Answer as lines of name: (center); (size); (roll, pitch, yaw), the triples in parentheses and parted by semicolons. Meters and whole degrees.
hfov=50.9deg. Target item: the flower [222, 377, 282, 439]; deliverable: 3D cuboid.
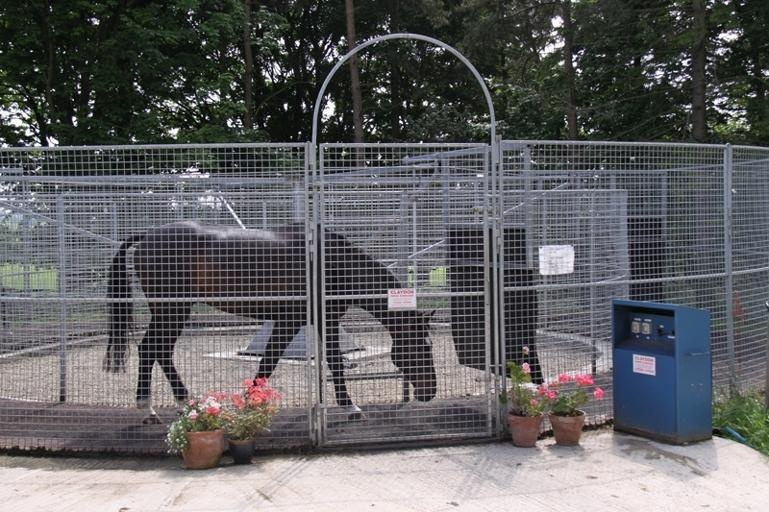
flower: (-2.111, 2.362, 12.120); (0.841, 0.950, 0.908); (10, 6, -24)

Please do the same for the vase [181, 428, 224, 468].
vase: (-2.575, 2.804, 11.745); (0.580, 0.380, 0.563); (8, -12, -41)

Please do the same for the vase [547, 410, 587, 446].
vase: (2.781, 2.665, 12.326); (0.577, 0.384, 0.555); (-1, -12, 6)

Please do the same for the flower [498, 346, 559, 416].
flower: (2.236, 1.911, 12.404); (0.803, 0.794, 0.859); (-1, 0, 20)

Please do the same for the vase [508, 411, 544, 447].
vase: (2.098, 2.617, 12.208); (0.534, 0.383, 0.518); (2, -3, 2)

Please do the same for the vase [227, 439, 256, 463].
vase: (-2.072, 2.832, 11.712); (0.383, 0.267, 0.360); (1, -2, 2)

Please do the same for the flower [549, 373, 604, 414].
flower: (3.050, 2.057, 12.470); (0.808, 0.525, 0.774); (-7, 5, -30)
